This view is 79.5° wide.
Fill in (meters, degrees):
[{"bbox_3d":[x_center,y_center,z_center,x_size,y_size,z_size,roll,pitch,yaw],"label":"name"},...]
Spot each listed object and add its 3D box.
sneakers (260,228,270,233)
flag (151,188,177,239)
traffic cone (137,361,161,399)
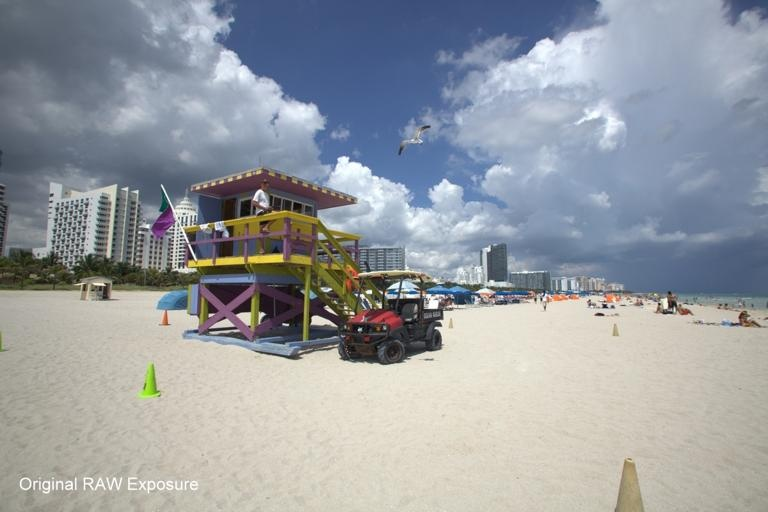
[{"bbox_3d":[-3.908,-0.836,15.102,0.254,0.250,0.247,4,5,33],"label":"sneakers"},{"bbox_3d":[-8.400,-1.665,17.580,1.069,0.255,2.374,-13,-34,-29],"label":"flag"},{"bbox_3d":[-5.771,3.092,11.417,0.619,0.726,0.638,0,3,-43],"label":"traffic cone"}]
